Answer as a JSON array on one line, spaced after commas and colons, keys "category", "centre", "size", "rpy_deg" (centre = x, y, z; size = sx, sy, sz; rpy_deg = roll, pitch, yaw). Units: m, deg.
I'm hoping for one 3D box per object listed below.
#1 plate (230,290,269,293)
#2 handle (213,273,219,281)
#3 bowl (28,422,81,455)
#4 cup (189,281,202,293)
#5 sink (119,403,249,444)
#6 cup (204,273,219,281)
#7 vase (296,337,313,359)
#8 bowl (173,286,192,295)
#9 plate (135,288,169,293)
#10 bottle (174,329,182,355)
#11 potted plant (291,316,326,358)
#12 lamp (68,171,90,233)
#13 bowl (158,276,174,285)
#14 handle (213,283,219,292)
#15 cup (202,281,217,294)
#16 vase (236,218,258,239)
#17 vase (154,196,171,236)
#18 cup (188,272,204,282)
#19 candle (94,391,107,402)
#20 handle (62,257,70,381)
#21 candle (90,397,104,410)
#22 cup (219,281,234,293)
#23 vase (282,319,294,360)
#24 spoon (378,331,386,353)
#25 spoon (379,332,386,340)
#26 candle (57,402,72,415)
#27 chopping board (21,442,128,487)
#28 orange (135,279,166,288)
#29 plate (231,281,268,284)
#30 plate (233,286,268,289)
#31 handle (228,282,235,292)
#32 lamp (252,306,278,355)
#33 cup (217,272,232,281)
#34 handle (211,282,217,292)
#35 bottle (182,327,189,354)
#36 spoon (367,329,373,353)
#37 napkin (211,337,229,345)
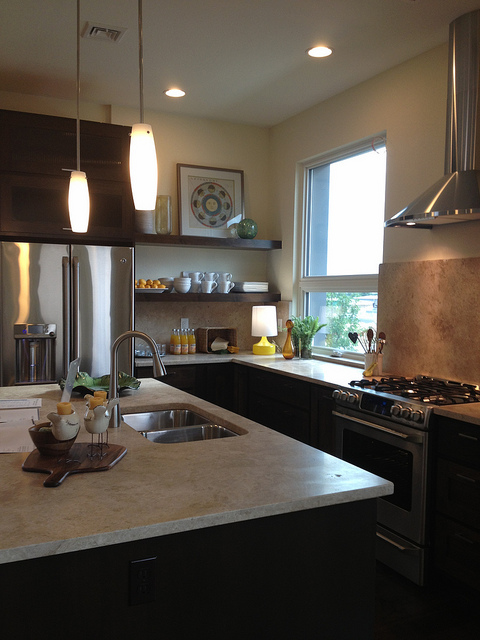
[{"category": "plate", "centre": [0.079, -0.263, 4.586], "size": [0.339, 0.023, 0.118], "rpy_deg": [0, 3, -4]}, {"category": "handle", "centre": [-0.211, -0.394, 4.467], "size": [0.035, 0.061, 0.060], "rpy_deg": [1, 4, 7]}, {"category": "bowl", "centre": [-0.523, 0.327, 1.405], "size": [0.133, 0.104, 0.083], "rpy_deg": [2, 3, 20]}, {"category": "cup", "centre": [-0.387, -0.287, 4.362], "size": [0.082, 0.095, 0.084], "rpy_deg": [2, 6, 0]}, {"category": "sink", "centre": [-0.258, 0.438, 2.024], "size": [0.309, 0.115, 0.528], "rpy_deg": [-1, 3, -30]}, {"category": "cup", "centre": [-0.253, -0.383, 4.448], "size": [0.115, 0.069, 0.073], "rpy_deg": [-2, 3, -43]}, {"category": "vase", "centre": [0.538, 0.225, 4.207], "size": [0.134, 0.172, 0.102], "rpy_deg": [1, 2, 5]}, {"category": "bowl", "centre": [-0.486, -0.262, 4.283], "size": [0.092, 0.072, 0.089], "rpy_deg": [0, 4, 0]}, {"category": "plate", "centre": [-0.735, -0.244, 4.098], "size": [0.239, 0.039, 0.061], "rpy_deg": [0, 3, -18]}, {"category": "bottle", "centre": [-0.537, 0.212, 4.374], "size": [0.047, 0.158, 0.064], "rpy_deg": [-2, 3, -45]}, {"category": "potted plant", "centre": [0.541, 0.106, 4.196], "size": [0.291, 0.415, 0.339], "rpy_deg": [-1, 4, -28]}, {"category": "lamp", "centre": [-0.635, -0.480, 1.983], "size": [0.069, 0.264, 0.257], "rpy_deg": [0, 3, -18]}, {"category": "bowl", "centre": [-0.627, -0.336, 4.312], "size": [0.082, 0.064, 0.081], "rpy_deg": [0, 4, 0]}, {"category": "handle", "centre": [-0.216, -0.298, 4.439], "size": [0.059, 0.060, 0.014], "rpy_deg": [14, -9, 35]}, {"category": "cup", "centre": [-0.255, -0.290, 4.403], "size": [0.075, 0.106, 0.149], "rpy_deg": [2, 3, 35]}, {"category": "vase", "centre": [0.064, -0.829, 4.551], "size": [0.162, 0.117, 0.168], "rpy_deg": [17, 20, 39]}, {"category": "vase", "centre": [-0.658, -0.883, 4.259], "size": [0.127, 0.354, 0.256], "rpy_deg": [0, 2, -3]}, {"category": "cup", "centre": [-0.382, -0.379, 4.393], "size": [0.100, 0.080, 0.082], "rpy_deg": [1, -1, -13]}, {"category": "candle", "centre": [-0.436, 0.229, 1.575], "size": [0.035, 0.035, 0.036], "rpy_deg": [-1, 6, -26]}, {"category": "handle", "centre": [-1.235, -0.024, 3.574], "size": [0.043, 0.844, 0.057], "rpy_deg": [0, 2, -23]}, {"category": "candle", "centre": [-0.428, 0.244, 1.491], "size": [0.027, 0.032, 0.029], "rpy_deg": [1, 6, -11]}, {"category": "cup", "centre": [-0.109, -0.295, 4.471], "size": [0.071, 0.099, 0.197], "rpy_deg": [2, 3, 27]}, {"category": "vase", "centre": [0.419, 0.153, 4.257], "size": [0.089, 0.315, 0.267], "rpy_deg": [1, 2, 9]}, {"category": "spoon", "centre": [0.922, 0.138, 3.265], "size": [0.049, 0.129, 0.221], "rpy_deg": [1, 3, 16]}, {"category": "spoon", "centre": [0.911, 0.095, 3.201], "size": [0.041, 0.033, 0.043], "rpy_deg": [4, 11, 12]}, {"category": "candle", "centre": [-0.477, 0.234, 1.369], "size": [0.030, 0.027, 0.031], "rpy_deg": [4, 10, 15]}, {"category": "chopping board", "centre": [-0.464, 0.389, 1.388], "size": [0.248, 0.016, 0.350], "rpy_deg": [2, 3, -12]}, {"category": "orange", "centre": [-0.742, -0.303, 4.175], "size": [0.267, 0.069, 0.153], "rpy_deg": [0, 3, -19]}, {"category": "plate", "centre": [0.101, -0.348, 4.676], "size": [0.360, 0.017, 0.191], "rpy_deg": [0, 3, -9]}, {"category": "plate", "centre": [0.098, -0.299, 4.578], "size": [0.319, 0.018, 0.088], "rpy_deg": [0, 3, -13]}, {"category": "handle", "centre": [-0.081, -0.297, 4.482], "size": [0.039, 0.070, 0.068], "rpy_deg": [16, 15, 15]}, {"category": "lamp", "centre": [0.212, 0.088, 4.398], "size": [0.205, 0.423, 0.216], "rpy_deg": [1, 2, 1]}, {"category": "cup", "centre": [-0.126, -0.387, 4.493], "size": [0.102, 0.074, 0.065], "rpy_deg": [1, -1, -40]}, {"category": "handle", "centre": [-0.230, -0.298, 4.430], "size": [0.060, 0.072, 0.047], "rpy_deg": [6, 8, -33]}, {"category": "bottle", "centre": [-0.483, 0.177, 4.481], "size": [0.055, 0.215, 0.220], "rpy_deg": [0, 2, -6]}, {"category": "spoon", "centre": [0.821, 0.118, 3.169], "size": [0.014, 0.132, 0.023], "rpy_deg": [0, 20, -8]}, {"category": "napkin", "centre": [-0.175, 0.185, 4.551], "size": [0.122, 0.053, 0.162], "rpy_deg": [1, 3, 13]}]
